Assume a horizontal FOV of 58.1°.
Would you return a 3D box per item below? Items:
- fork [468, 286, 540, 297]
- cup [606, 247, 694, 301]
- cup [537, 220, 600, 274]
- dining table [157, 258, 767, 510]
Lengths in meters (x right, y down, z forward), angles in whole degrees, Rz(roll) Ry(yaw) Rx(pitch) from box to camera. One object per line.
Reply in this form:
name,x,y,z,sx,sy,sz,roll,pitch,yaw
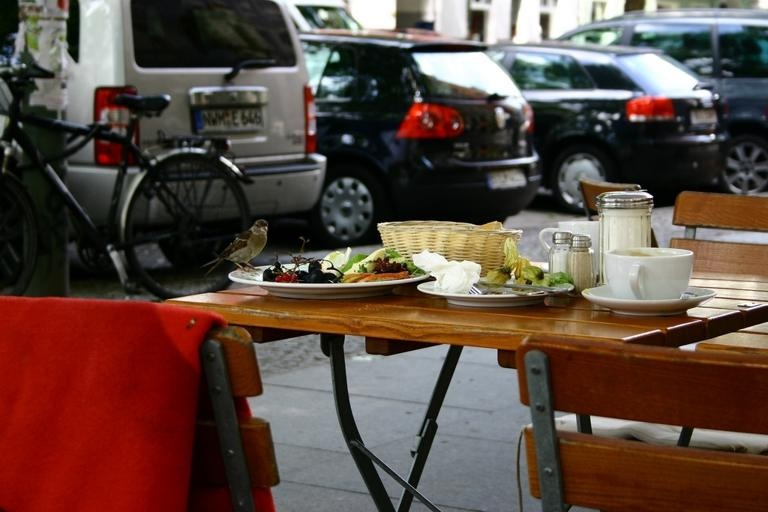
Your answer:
fork,0.348,0.104,1.977,0.172,0.028,0.016,2,-29,18
cup,0.698,0.029,1.827,0.187,0.085,0.147,-8,9,-33
cup,0.609,-0.040,2.279,0.219,0.188,0.134,-1,6,20
dining table,0.201,0.377,1.943,0.975,0.607,0.962,3,8,17
